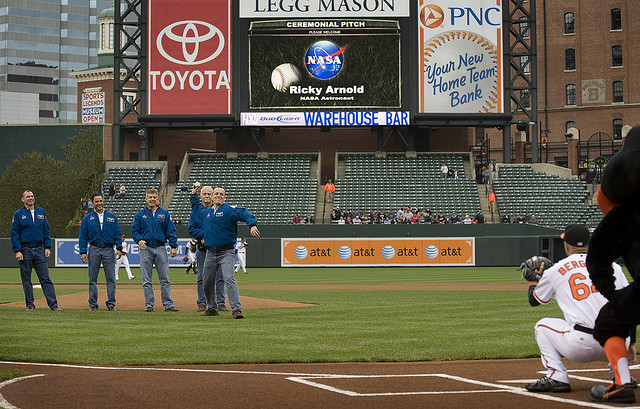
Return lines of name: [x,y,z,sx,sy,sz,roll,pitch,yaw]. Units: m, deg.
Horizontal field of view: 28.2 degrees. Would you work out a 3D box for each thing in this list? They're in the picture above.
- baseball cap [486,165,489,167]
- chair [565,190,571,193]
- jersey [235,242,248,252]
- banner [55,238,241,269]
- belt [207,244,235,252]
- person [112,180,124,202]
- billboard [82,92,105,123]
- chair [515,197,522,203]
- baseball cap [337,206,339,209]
baseball cap: [11.592,-2.717,88.011,0.155,0.142,0.079,2,8,2]
chair: [16.736,-0.944,85.835,0.382,0.179,0.204,0,-2,13]
jersey: [-4.823,2.504,76.845,0.487,0.567,0.990,0,-2,0]
banner: [-11.269,2.974,79.766,12.784,2.005,0.126,-1,9,19]
belt: [-4.654,2.081,61.554,0.845,0.308,0.122,1,-2,-3]
person: [-13.761,-0.964,87.287,1.027,0.975,0.310,-3,-8,0]
billboard: [-20.808,-8.958,115.820,3.032,2.730,1.321,-1,-2,36]
chair: [13.358,-0.385,85.459,0.471,0.404,0.267,-1,-4,4]
baseball cap: [1.141,0.147,85.573,0.170,0.153,0.165,0,4,-25]
